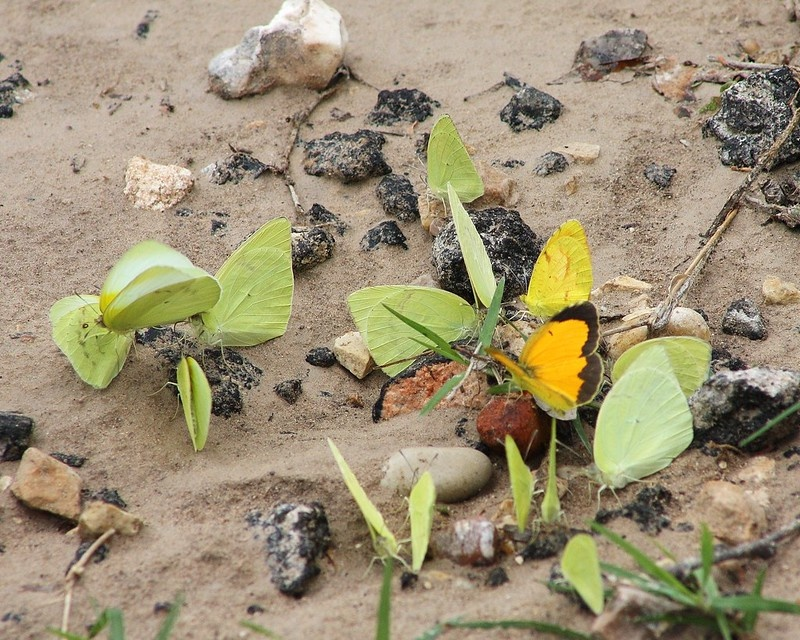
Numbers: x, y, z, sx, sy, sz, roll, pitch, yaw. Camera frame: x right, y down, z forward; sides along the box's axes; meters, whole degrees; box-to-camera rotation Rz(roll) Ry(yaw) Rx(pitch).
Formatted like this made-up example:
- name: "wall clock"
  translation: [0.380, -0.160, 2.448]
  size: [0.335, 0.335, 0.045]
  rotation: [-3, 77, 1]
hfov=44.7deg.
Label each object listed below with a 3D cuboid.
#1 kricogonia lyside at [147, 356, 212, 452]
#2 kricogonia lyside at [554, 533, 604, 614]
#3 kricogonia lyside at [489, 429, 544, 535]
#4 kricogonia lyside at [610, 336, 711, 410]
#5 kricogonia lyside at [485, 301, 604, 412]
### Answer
- name: "kricogonia lyside"
  translation: [-1.090, 0.399, 4.892]
  size: [0.189, 0.162, 0.525]
  rotation: [-11, 90, 34]
- name: "kricogonia lyside"
  translation: [0.744, 1.032, 3.933]
  size: [0.190, 0.384, 0.079]
  rotation: [-29, 103, 8]
- name: "kricogonia lyside"
  translation: [0.552, 0.746, 4.414]
  size: [0.046, 0.180, 0.442]
  rotation: [-9, 94, -35]
- name: "kricogonia lyside"
  translation: [1.348, 0.227, 4.922]
  size: [0.369, 0.426, 0.187]
  rotation: [22, 74, 15]
- name: "kricogonia lyside"
  translation: [0.735, 0.215, 4.506]
  size: [0.377, 0.507, 0.355]
  rotation: [-2, 56, 0]
